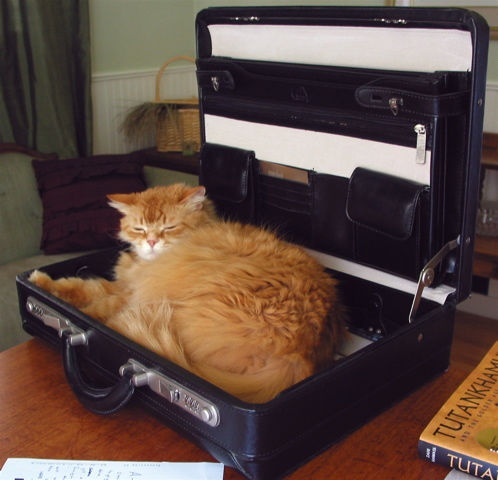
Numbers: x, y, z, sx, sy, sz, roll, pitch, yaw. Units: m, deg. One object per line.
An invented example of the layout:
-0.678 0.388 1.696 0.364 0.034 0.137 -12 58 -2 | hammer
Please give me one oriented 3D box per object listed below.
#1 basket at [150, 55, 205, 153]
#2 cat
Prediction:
-0.378 -0.727 2.678 0.297 0.583 0.299 -1 -1 -1 | basket
-0.096 0.045 0.835 0.311 0.207 0.540 -26 38 -34 | cat
